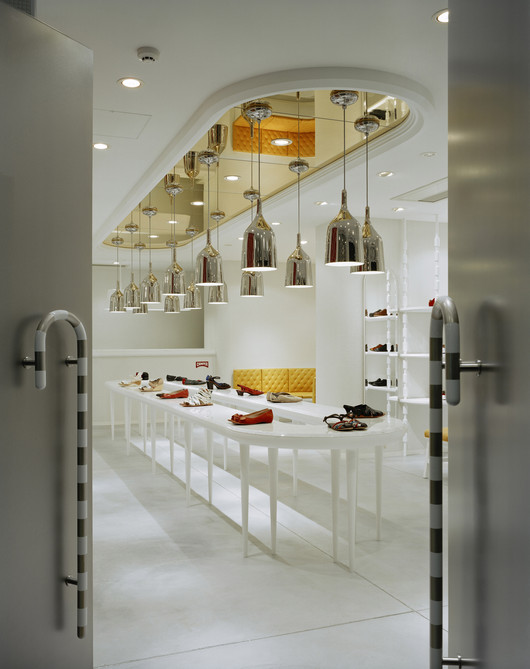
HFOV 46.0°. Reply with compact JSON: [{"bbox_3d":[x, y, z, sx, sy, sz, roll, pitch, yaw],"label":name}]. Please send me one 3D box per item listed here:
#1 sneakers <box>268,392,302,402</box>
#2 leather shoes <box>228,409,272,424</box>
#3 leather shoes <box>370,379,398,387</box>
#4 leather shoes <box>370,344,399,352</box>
[{"bbox_3d":[0.151,0.534,5.212,0.238,0.078,0.110,-2,-1,13],"label":"sneakers"},{"bbox_3d":[-0.085,0.513,3.906,0.266,0.087,0.262,0,-2,-2],"label":"leather shoes"},{"bbox_3d":[1.391,0.571,7.377,0.342,0.127,0.126,2,-1,-11],"label":"leather shoes"},{"bbox_3d":[1.402,0.153,7.350,0.294,0.109,0.106,2,1,14],"label":"leather shoes"}]
